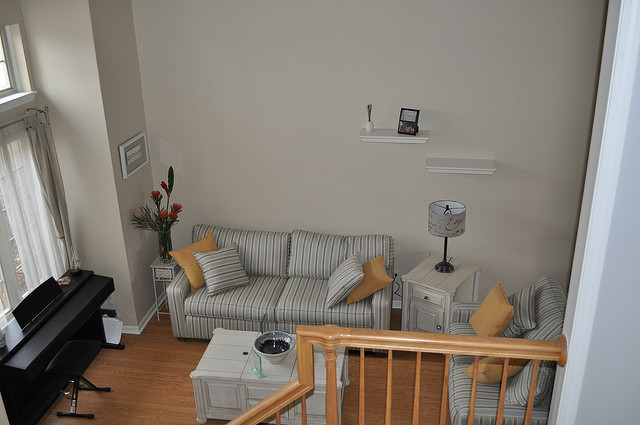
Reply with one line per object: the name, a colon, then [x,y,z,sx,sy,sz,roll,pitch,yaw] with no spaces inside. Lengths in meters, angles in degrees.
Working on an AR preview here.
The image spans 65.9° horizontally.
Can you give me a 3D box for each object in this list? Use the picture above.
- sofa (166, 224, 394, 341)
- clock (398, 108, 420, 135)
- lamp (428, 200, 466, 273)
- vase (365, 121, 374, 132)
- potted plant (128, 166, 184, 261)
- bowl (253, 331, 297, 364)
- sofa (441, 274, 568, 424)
sofa: [-0.456,0.912,6.089,2.619,1.232,0.932,1,17,9]
clock: [1.046,-1.082,5.891,0.300,0.383,0.039,8,3,11]
lamp: [1.479,0.312,5.857,0.437,0.772,0.428,5,16,17]
vase: [0.588,-1.044,5.995,0.107,0.129,0.152,0,17,5]
potted plant: [-2.035,0.025,6.248,0.572,1.157,0.690,-2,17,0]
bowl: [-0.471,1.406,5.093,0.547,0.212,0.531,0,18,0]
sofa: [1.585,1.235,4.316,0.732,0.770,1.227,5,36,19]
